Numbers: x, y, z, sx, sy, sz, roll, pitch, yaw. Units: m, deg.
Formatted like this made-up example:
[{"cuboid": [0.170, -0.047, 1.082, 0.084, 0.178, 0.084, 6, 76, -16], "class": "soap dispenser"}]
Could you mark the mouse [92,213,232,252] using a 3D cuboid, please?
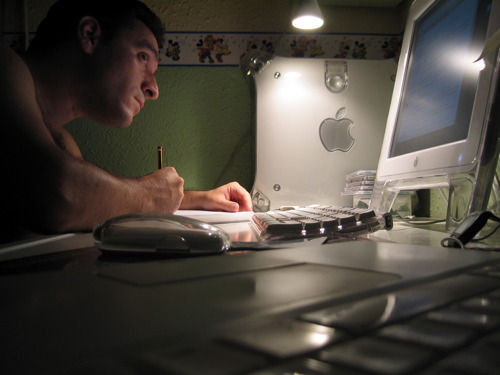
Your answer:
[{"cuboid": [-0.125, 0.065, 0.542, 0.196, 0.045, 0.061, 0, 8, 2], "class": "mouse"}]
